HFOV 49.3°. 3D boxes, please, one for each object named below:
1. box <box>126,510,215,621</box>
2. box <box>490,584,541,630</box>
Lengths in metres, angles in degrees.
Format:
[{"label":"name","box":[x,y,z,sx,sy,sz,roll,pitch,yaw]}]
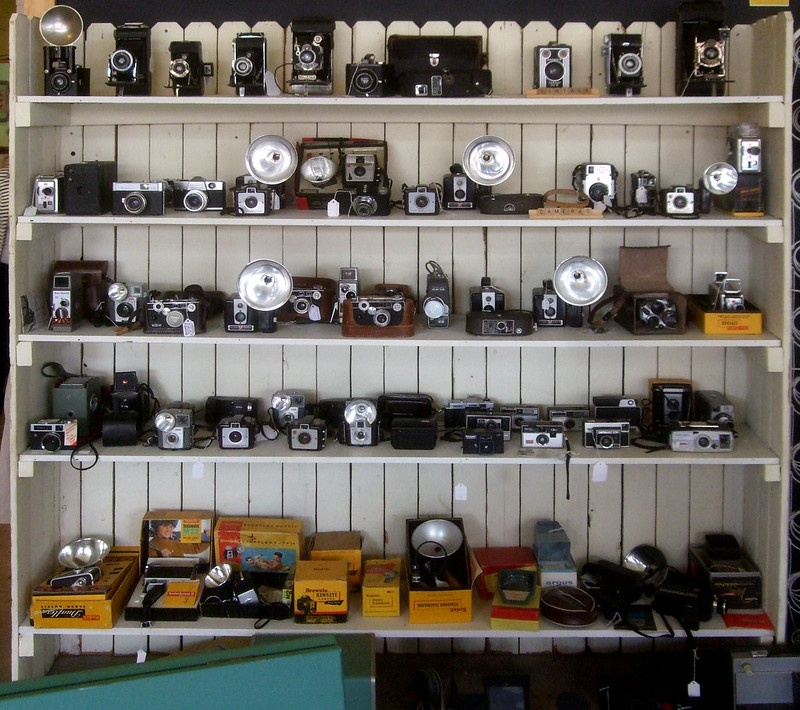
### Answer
[{"label":"box","box":[-1.030,0.939,3.916,0.247,0.311,0.429,1,14,-1]},{"label":"box","box":[0.488,1.094,3.757,0.212,0.164,0.156,-4,-3,9]}]
